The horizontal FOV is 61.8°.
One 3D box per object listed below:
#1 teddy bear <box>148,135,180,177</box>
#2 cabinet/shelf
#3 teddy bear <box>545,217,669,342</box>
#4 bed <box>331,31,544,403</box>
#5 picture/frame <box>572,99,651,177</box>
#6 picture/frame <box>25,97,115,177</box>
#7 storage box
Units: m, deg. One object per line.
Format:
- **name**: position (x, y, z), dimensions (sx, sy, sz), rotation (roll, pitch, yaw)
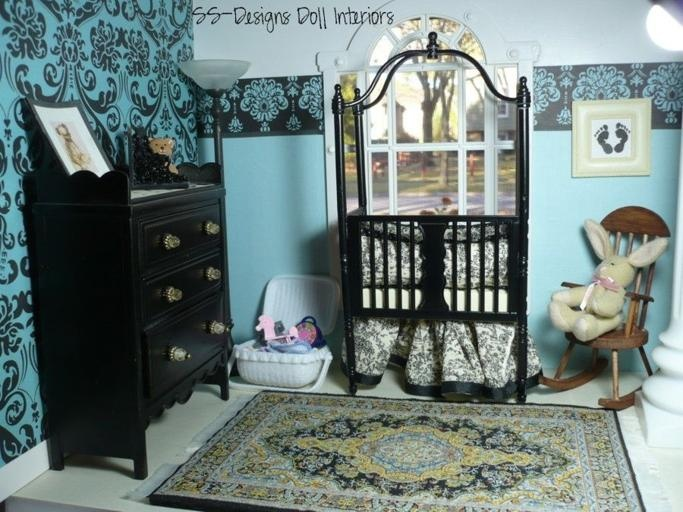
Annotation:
- **teddy bear**: position (-0.957, -0.521, 3.001), dimensions (0.146, 0.187, 0.105), rotation (-4, 0, -30)
- **cabinet/shelf**: position (-0.983, 0.266, 2.772), dimensions (0.560, 1.394, 0.946), rotation (9, 19, 39)
- **teddy bear**: position (1.592, 0.127, 3.317), dimensions (0.498, 0.576, 0.590), rotation (-13, 18, -18)
- **bed**: position (0.539, -0.201, 3.202), dimensions (1.190, 2.013, 0.590), rotation (2, 16, 17)
- **picture/frame**: position (1.634, -0.715, 3.379), dimensions (0.491, 0.462, 0.034), rotation (1, 5, 11)
- **picture/frame**: position (-1.291, -0.548, 2.659), dimensions (0.020, 0.457, 0.410), rotation (-21, 11, 22)
- **storage box**: position (-0.301, 0.449, 3.569), dimensions (0.644, 0.593, 0.887), rotation (2, 3, 9)
